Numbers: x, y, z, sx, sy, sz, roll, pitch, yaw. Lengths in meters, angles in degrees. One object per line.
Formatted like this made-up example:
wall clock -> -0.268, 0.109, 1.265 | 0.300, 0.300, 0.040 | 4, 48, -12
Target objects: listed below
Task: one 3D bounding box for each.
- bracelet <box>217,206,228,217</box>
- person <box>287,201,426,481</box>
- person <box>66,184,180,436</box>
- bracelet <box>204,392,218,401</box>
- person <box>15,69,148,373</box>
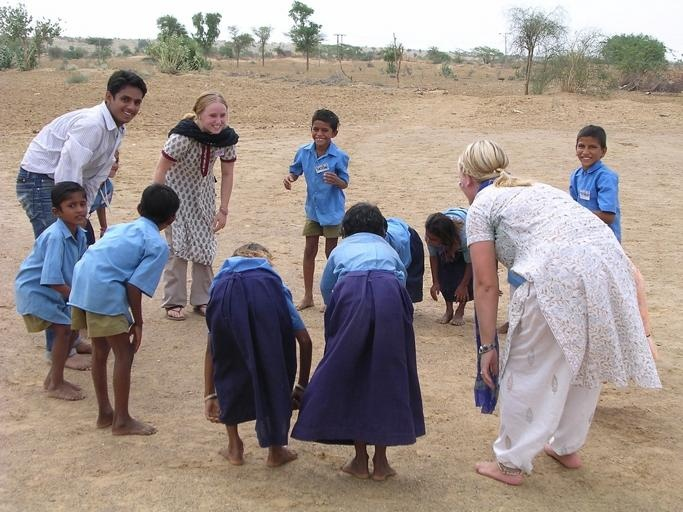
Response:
bracelet -> -1.177, -0.440, 7.513 | 0.104, 0.051, 0.110 | 4, -29, -3
person -> 0.157, 0.575, 5.373 | 0.867, 1.386, 0.751 | 1, 14, 4
person -> -1.610, 0.401, 5.701 | 0.784, 1.824, 0.582 | -5, 15, -22
bracelet -> -0.936, 1.003, 5.453 | 0.077, 0.026, 0.054 | -13, -5, 17
person -> -2.330, -0.630, 6.850 | 1.001, 2.145, 0.649 | 18, 28, 10
